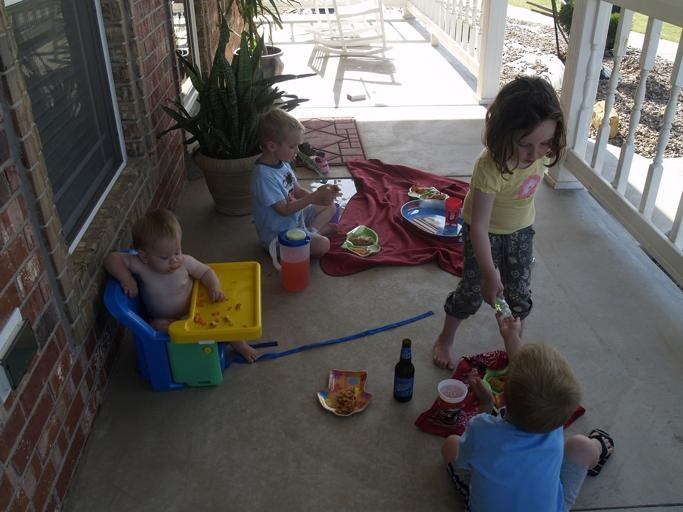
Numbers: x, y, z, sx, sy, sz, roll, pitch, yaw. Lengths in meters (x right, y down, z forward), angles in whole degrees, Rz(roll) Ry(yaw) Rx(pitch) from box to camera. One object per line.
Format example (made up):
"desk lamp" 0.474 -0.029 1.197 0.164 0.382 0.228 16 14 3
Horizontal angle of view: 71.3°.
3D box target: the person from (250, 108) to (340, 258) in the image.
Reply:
"person" -0.272 -0.426 2.860 0.526 0.850 0.531 -6 29 -10

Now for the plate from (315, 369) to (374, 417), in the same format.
"plate" 0.017 0.613 2.109 0.219 0.054 0.260 4 31 8

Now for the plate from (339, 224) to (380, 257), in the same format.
"plate" 0.129 -0.101 3.072 0.241 0.062 0.343 2 30 4

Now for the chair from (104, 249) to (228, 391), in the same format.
"chair" -0.767 0.268 2.236 0.499 0.634 0.464 -1 34 -12

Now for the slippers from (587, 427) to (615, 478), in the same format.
"slippers" 1.027 0.777 1.894 0.093 0.066 0.186 14 70 33
